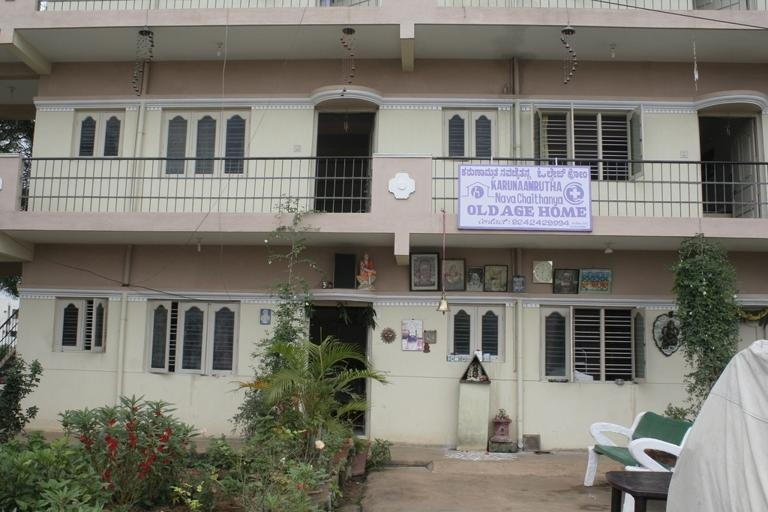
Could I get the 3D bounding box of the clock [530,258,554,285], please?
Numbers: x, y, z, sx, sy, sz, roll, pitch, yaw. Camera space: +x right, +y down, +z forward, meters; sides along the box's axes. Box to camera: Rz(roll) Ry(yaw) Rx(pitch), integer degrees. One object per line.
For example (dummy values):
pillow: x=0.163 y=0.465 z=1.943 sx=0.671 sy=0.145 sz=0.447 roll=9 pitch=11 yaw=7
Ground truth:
clock: x=3.591 y=0.387 z=18.040 sx=0.644 sy=0.704 sz=0.053 roll=2 pitch=-8 yaw=2

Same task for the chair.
chair: x=4.588 y=3.605 z=14.131 sx=1.529 sy=1.433 sz=1.824 roll=3 pitch=-13 yaw=-10
